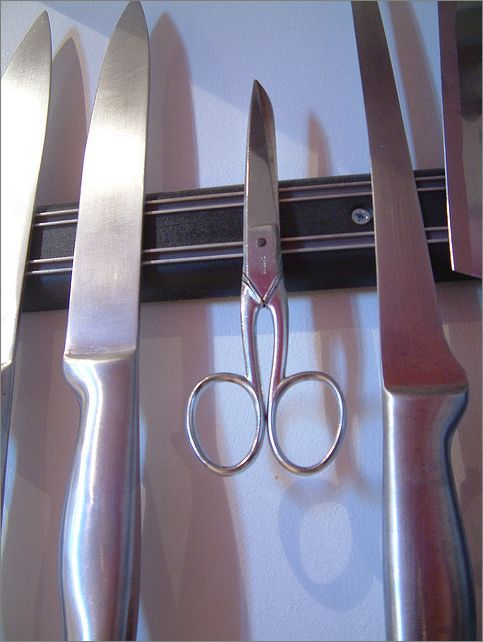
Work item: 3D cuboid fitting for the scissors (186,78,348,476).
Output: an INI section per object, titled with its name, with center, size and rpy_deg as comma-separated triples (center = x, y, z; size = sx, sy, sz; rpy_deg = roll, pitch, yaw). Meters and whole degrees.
[scissors]
center = 0.020, -0.048, 0.477
size = 0.116, 0.359, 0.093
rpy_deg = 0, -17, 4
